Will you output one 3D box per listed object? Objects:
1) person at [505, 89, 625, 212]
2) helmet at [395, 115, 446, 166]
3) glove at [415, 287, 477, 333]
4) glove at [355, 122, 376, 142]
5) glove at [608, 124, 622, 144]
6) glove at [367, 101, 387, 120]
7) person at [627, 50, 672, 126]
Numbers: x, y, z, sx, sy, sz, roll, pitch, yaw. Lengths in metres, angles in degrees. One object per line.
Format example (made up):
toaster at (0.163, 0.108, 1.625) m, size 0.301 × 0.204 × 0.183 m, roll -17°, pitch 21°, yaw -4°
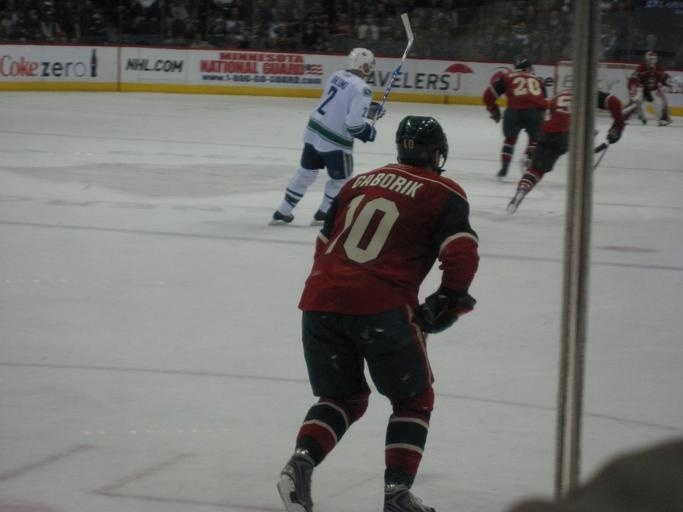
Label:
person at (2.095, -0.963, 9.538) m, size 0.909 × 1.084 × 1.192 m, roll 6°, pitch 13°, yaw 13°
helmet at (0.430, -0.599, 5.460) m, size 0.261 × 0.247 × 0.311 m, roll 6°, pitch 6°, yaw 28°
glove at (0.557, 0.250, 5.432) m, size 0.287 × 0.102 × 0.175 m, roll 13°, pitch 20°, yaw 38°
glove at (0.181, -1.044, 8.677) m, size 0.146 × 0.075 × 0.198 m, roll 30°, pitch 7°, yaw 20°
glove at (2.591, -1.148, 9.800) m, size 0.140 × 0.129 × 0.171 m, roll 8°, pitch 13°, yaw 24°
glove at (0.288, -1.305, 9.165) m, size 0.092 × 0.135 × 0.307 m, roll -4°, pitch 32°, yaw 15°
person at (4.263, -2.277, 14.140) m, size 0.678 × 0.999 × 3.033 m, roll 6°, pitch 12°, yaw 14°
